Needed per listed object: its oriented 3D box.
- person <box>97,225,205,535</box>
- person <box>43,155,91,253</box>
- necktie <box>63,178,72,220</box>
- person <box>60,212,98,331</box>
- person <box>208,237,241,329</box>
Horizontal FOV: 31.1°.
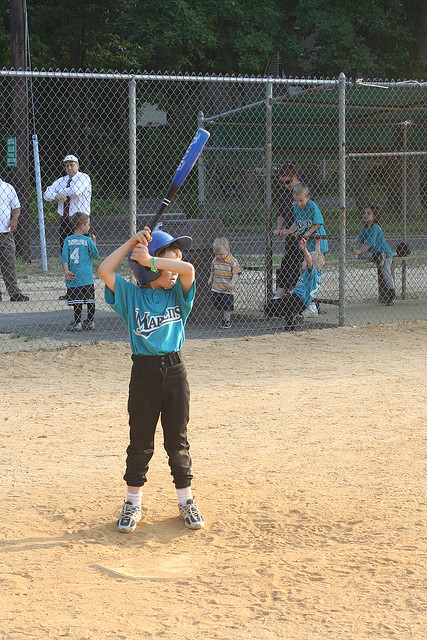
[{"bbox_3d":[-0.246,0.236,3.143,0.410,1.224,0.303,-1,11,-7],"label":"person"},{"bbox_3d":[-1.548,-1.120,8.183,0.546,1.158,0.447,-2,-4,6],"label":"person"},{"bbox_3d":[-1.536,-1.290,8.150,0.092,0.426,0.138,-4,11,-22],"label":"necktie"},{"bbox_3d":[-1.341,-0.486,7.781,0.329,1.204,0.751,-2,10,-11],"label":"person"},{"bbox_3d":[0.115,-0.394,7.999,0.318,0.942,0.527,0,10,-1],"label":"person"}]
